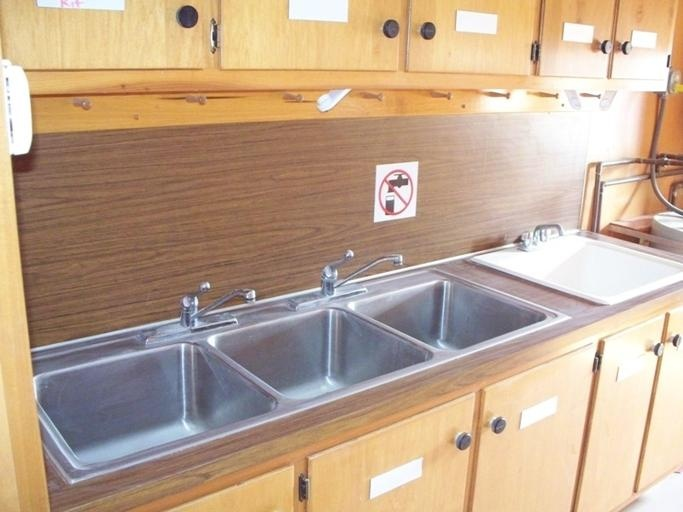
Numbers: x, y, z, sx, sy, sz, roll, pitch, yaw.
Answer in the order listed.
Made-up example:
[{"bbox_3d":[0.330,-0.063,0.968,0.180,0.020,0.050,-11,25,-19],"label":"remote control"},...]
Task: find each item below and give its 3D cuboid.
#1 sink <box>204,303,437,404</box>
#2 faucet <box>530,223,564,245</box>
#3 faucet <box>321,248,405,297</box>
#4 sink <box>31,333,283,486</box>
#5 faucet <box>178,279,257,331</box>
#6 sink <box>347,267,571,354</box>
[{"bbox_3d":[-0.112,0.306,1.568,0.416,0.233,0.423,-13,25,-41],"label":"sink"},{"bbox_3d":[1.022,-0.113,2.458,0.283,0.098,0.074,-9,12,-40],"label":"faucet"},{"bbox_3d":[0.052,0.053,1.859,0.288,0.113,0.298,-10,-6,-3],"label":"faucet"},{"bbox_3d":[-0.525,0.384,1.380,0.467,0.162,0.363,-12,25,-36],"label":"sink"},{"bbox_3d":[-0.364,0.142,1.537,0.256,0.130,0.138,-16,-7,35],"label":"faucet"},{"bbox_3d":[0.421,0.197,1.822,0.439,0.238,0.424,-19,32,-32],"label":"sink"}]
